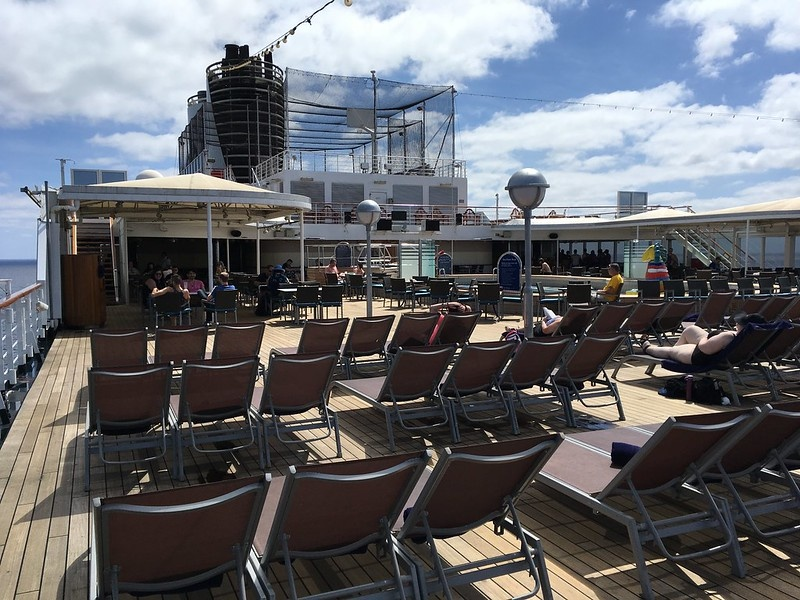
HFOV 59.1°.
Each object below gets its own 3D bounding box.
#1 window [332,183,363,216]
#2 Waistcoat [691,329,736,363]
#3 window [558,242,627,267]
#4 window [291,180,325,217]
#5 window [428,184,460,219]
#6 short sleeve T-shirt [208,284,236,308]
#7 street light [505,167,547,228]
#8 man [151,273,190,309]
[{"bbox_3d":[-2.176,-4.577,30.917,1.522,1.166,1.422,-5,8,-14],"label":"window"},{"bbox_3d":[3.456,0.544,7.773,0.303,0.157,0.420,-20,-10,-12],"label":"Waistcoat"},{"bbox_3d":[9.326,-2.163,33.716,2.362,1.637,1.390,-1,17,-1],"label":"window"},{"bbox_3d":[-3.844,-4.379,29.732,1.458,1.627,2.519,-4,8,-6],"label":"window"},{"bbox_3d":[2.089,-5.035,33.466,1.548,1.799,0.400,-1,-19,5],"label":"window"},{"bbox_3d":[-3.353,-0.044,13.385,0.388,0.401,0.212,-7,36,-30],"label":"short sleeve T-shirt"},{"bbox_3d":[1.610,-1.353,8.896,0.547,0.653,0.593,0,3,-2],"label":"street light"},{"bbox_3d":[-4.196,-0.190,13.178,0.796,0.845,0.523,-8,18,-40],"label":"man"}]
